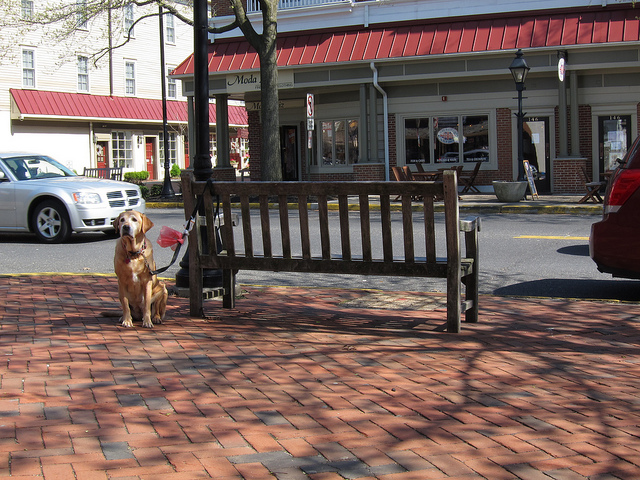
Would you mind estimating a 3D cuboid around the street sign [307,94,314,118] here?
[{"bbox_3d":[-0.288,-3.987,21.285,0.168,0.704,0.506,-1,7,-6],"label":"street sign"}]

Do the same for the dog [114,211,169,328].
[{"bbox_3d":[-1.738,0.290,7.027,0.506,1.143,0.414,-6,9,-38],"label":"dog"}]

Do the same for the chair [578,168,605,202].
[{"bbox_3d":[8.113,-1.525,21.160,0.786,0.933,0.773,8,0,36],"label":"chair"}]

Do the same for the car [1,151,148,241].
[{"bbox_3d":[-6.332,-0.818,15.397,5.070,1.595,2.064,0,3,17],"label":"car"}]

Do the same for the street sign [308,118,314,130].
[{"bbox_3d":[-0.272,-3.423,21.122,0.052,0.420,0.452,0,3,23],"label":"street sign"}]

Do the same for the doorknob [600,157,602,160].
[{"bbox_3d":[9.984,-2.893,25.372,0.074,0.074,0.137,4,-17,9],"label":"doorknob"}]

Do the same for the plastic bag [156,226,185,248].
[{"bbox_3d":[-1.523,-0.042,7.253,0.225,0.137,0.225,-12,47,-33],"label":"plastic bag"}]
